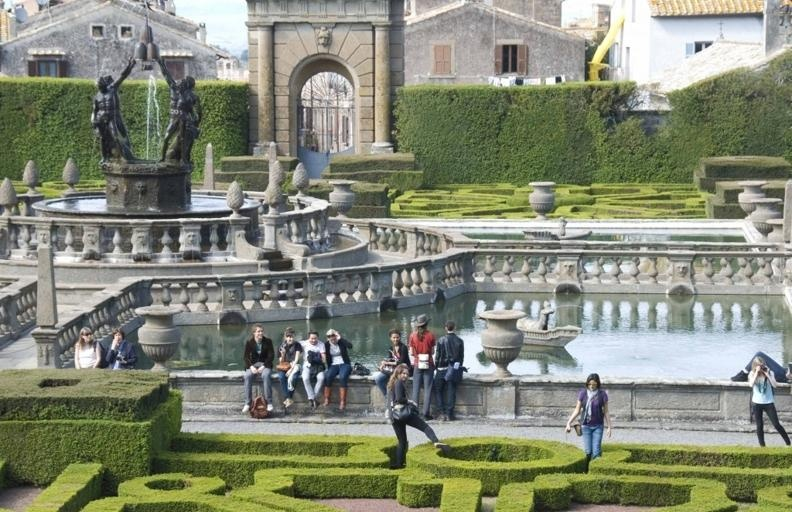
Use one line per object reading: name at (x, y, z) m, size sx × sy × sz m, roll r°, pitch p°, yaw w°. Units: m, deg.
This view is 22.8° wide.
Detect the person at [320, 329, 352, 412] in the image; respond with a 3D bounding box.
person at (-1.585, 2.947, 51.806) m, size 0.545 × 1.957 × 0.854 m, roll 3°, pitch -1°, yaw -21°

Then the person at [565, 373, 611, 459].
person at (4.942, 4.005, 49.659) m, size 1.057 × 2.209 × 0.945 m, roll 2°, pitch 0°, yaw 22°

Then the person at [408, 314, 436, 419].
person at (0.728, 2.857, 51.680) m, size 0.553 × 2.637 × 0.730 m, roll 1°, pitch -3°, yaw 34°

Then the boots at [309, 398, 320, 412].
boots at (-2.134, 3.906, 51.711) m, size 0.223 × 0.342 × 0.137 m, roll -3°, pitch -34°, yaw -1°

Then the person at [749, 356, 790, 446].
person at (9.742, 3.697, 50.615) m, size 0.976 × 2.306 × 1.059 m, roll -4°, pitch 6°, yaw -25°
